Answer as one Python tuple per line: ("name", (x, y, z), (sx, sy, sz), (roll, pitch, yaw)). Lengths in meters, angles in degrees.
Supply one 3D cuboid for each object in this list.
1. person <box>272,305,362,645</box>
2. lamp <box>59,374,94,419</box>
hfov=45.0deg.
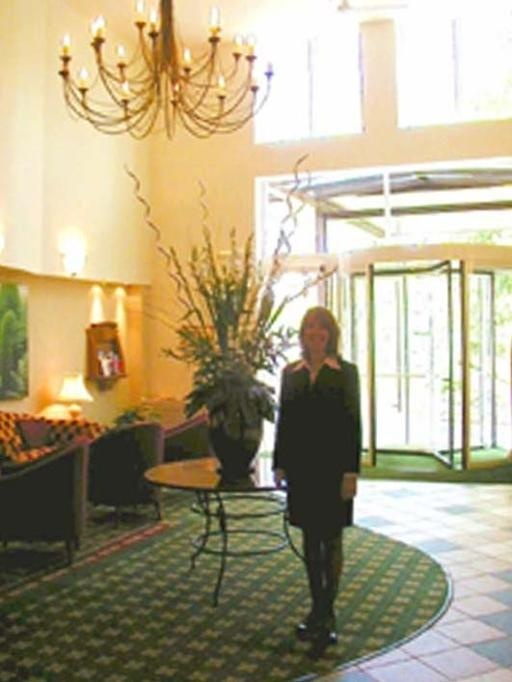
("person", (0.241, 0.537, 2.504), (0.346, 1.385, 0.346), (0, -4, 7))
("lamp", (-2.182, 0.656, 7.390), (0.364, 0.496, 0.727), (1, -4, -19))
